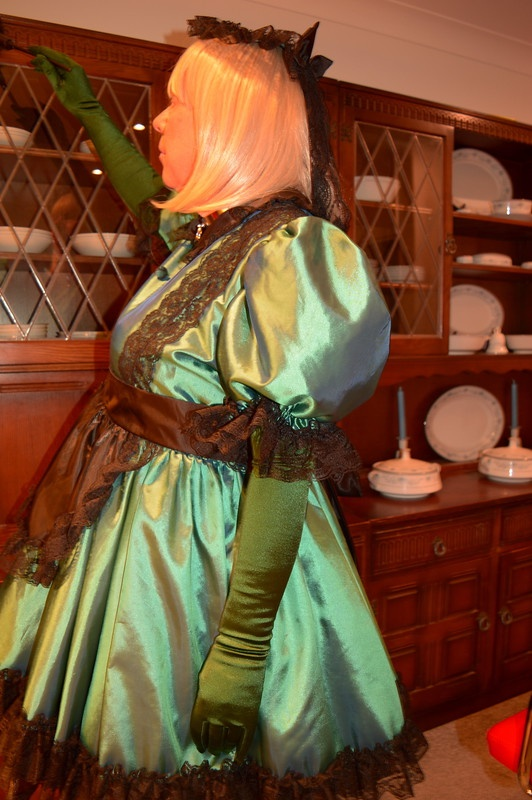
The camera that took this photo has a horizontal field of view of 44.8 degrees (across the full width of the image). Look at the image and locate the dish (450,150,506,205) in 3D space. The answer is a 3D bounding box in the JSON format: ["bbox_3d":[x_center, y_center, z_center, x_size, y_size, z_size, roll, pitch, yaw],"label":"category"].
[{"bbox_3d":[0.718,-0.755,2.239,0.241,0.222,0.030,4,6,-24],"label":"dish"}]

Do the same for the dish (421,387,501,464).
[{"bbox_3d":[0.738,0.092,2.450,0.309,0.283,0.040,7,9,-22],"label":"dish"}]

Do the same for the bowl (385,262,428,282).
[{"bbox_3d":[0.407,-0.353,1.822,0.067,0.034,0.085,3,-3,-43],"label":"bowl"}]

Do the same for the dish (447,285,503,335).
[{"bbox_3d":[0.741,-0.314,2.293,0.221,0.199,0.051,2,-1,-19],"label":"dish"}]

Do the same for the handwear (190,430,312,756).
[{"bbox_3d":[-0.016,0.206,0.635,0.050,0.265,0.103,10,12,36],"label":"handwear"}]
